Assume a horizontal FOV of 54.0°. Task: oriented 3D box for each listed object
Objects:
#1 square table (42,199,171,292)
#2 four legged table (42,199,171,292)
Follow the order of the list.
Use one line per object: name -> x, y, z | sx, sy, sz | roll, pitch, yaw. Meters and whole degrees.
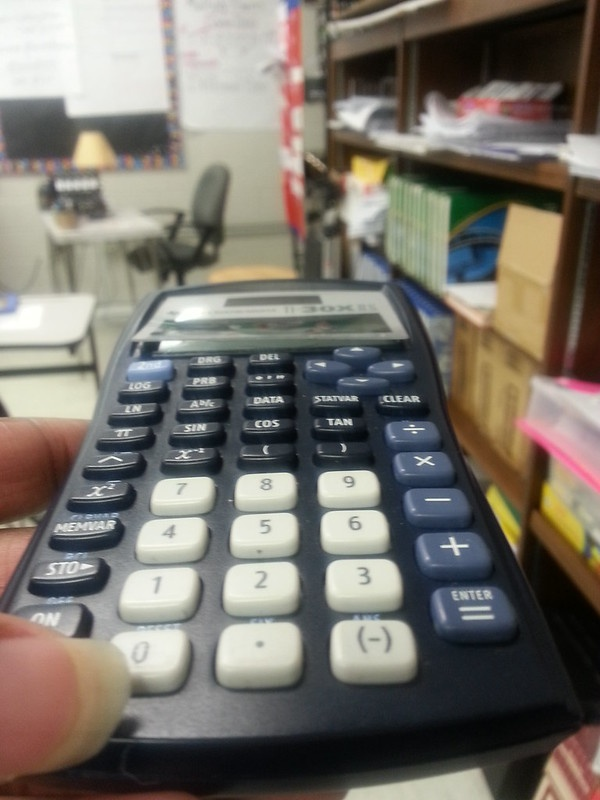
square table -> -0.614, -0.433, 1.948 | 0.359, 0.331, 0.350 | -17, 39, -29
four legged table -> -0.614, -0.454, 1.943 | 0.359, 0.331, 0.350 | -17, 39, -29
